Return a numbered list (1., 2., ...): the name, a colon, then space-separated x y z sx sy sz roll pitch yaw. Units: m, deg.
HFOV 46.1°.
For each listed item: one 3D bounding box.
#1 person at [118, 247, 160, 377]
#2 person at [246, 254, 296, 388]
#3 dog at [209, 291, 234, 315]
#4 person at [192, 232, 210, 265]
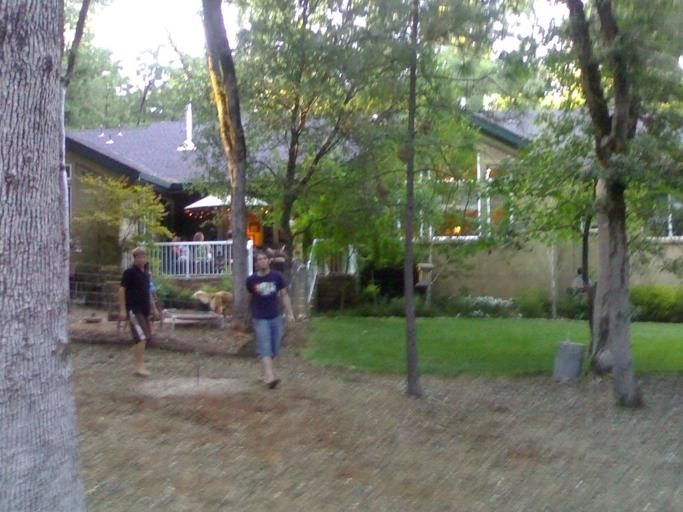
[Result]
1. person: -3.018 0.822 11.788 0.413 1.843 0.509 -2 11 -16
2. person: -1.005 0.901 11.516 0.570 1.881 0.726 -4 12 -27
3. dog: -2.650 1.033 17.661 0.474 0.423 0.569 -1 10 -10
4. person: -3.727 -0.244 21.353 0.483 0.541 2.156 -1 10 -11
